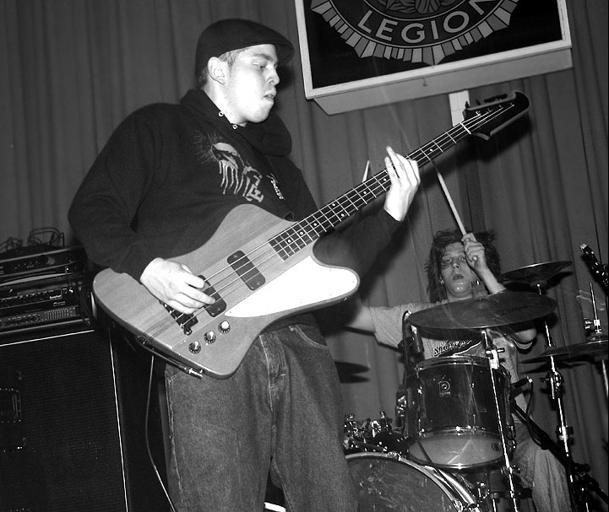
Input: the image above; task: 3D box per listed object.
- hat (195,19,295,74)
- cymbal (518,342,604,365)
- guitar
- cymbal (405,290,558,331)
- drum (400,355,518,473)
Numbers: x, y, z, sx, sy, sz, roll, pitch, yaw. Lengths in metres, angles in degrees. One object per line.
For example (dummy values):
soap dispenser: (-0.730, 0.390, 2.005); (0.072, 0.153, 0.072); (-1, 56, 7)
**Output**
hat: (-0.194, -0.659, 2.277); (0.273, 0.160, 0.203); (-21, 8, 8)
cymbal: (1.105, 0.418, 2.992); (0.231, 0.061, 0.244); (-5, -8, -25)
guitar: (0.011, -0.055, 2.123); (1.471, 0.486, 0.138); (-42, -10, -22)
cymbal: (0.749, 0.226, 2.827); (0.304, 0.081, 0.306); (-1, -10, -14)
drum: (0.602, 0.670, 2.774); (0.435, 0.382, 0.470); (-5, -36, 17)
